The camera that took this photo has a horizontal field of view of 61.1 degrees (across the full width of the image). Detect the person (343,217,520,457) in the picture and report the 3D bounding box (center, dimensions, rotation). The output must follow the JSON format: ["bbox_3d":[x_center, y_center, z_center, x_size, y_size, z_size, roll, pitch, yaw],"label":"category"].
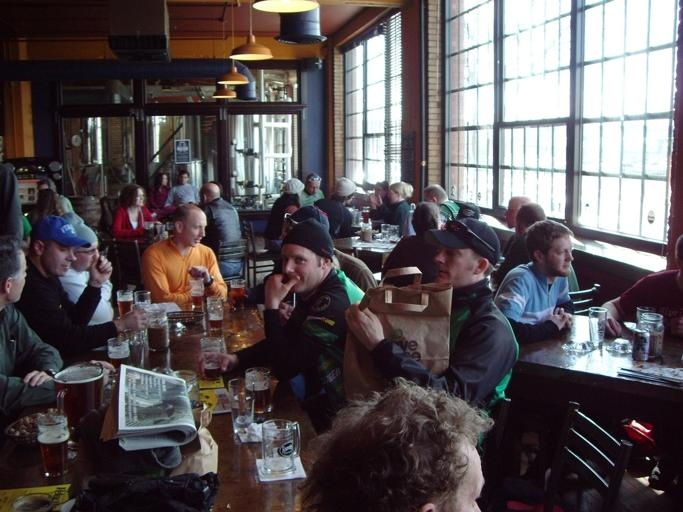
[{"bbox_3d":[0.428,0.392,2.667,0.752,1.146,0.796,5,7,-11],"label":"person"}]

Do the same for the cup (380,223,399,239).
[{"bbox_3d":[0.559,-0.279,6.566,0.175,0.180,0.174,0,7,0],"label":"cup"}]

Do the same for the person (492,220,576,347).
[{"bbox_3d":[1.182,0.160,3.502,0.734,0.735,0.455,-1,6,-41],"label":"person"}]

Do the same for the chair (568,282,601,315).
[{"bbox_3d":[1.650,0.295,3.926,0.178,0.235,0.150,-3,20,-1],"label":"chair"}]

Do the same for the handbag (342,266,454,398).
[{"bbox_3d":[0.249,0.370,2.360,0.413,0.561,0.201,1,-28,7],"label":"handbag"}]

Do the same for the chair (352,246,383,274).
[{"bbox_3d":[0.307,0.063,6.162,0.248,0.342,0.342,-5,13,-21],"label":"chair"}]

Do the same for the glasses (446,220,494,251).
[{"bbox_3d":[0.587,-0.106,2.640,0.160,0.045,0.154,31,7,-4],"label":"glasses"}]

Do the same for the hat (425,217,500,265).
[{"bbox_3d":[0.567,-0.058,2.686,0.287,0.164,0.187,23,7,-8],"label":"hat"}]
